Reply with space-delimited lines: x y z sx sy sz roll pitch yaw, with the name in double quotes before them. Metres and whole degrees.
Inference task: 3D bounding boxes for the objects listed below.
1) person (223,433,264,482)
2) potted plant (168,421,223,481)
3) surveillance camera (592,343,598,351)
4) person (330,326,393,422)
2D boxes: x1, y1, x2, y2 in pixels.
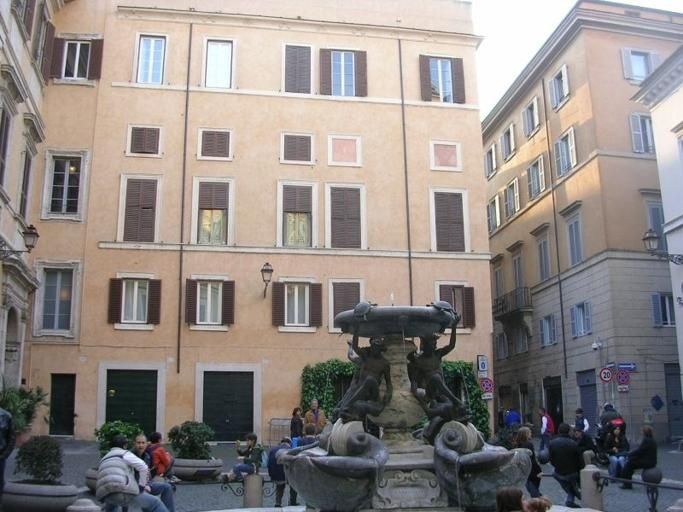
"person" -2.096 4.266 14.497 0.751 0.964 1.994 2 -16 -9
"potted plant" -3.757 5.040 17.706 1.429 1.481 1.296 -5 -7 45
"surveillance camera" 10.884 3.938 29.626 0.301 0.344 0.295 -3 -4 -2
"person" 0.338 2.000 11.415 1.024 1.436 0.595 14 -21 -41
